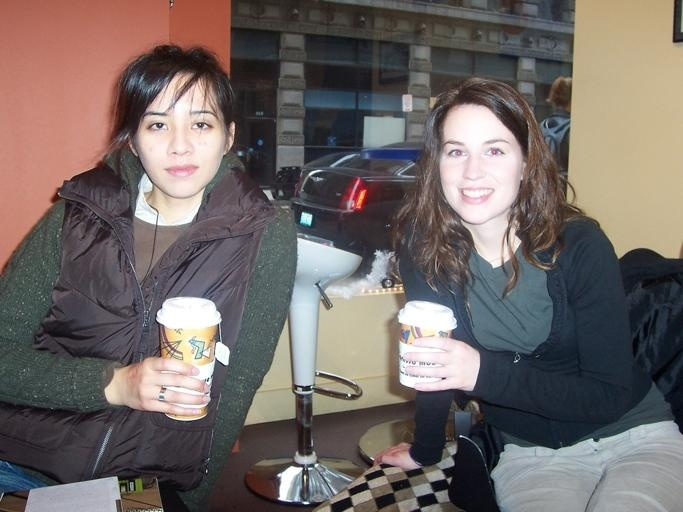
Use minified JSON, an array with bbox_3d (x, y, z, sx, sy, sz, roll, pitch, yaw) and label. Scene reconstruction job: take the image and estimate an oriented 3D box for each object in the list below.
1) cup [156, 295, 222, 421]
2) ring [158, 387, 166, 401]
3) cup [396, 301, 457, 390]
[{"bbox_3d":[-0.404,0.238,1.480,0.136,0.252,0.121,10,12,39],"label":"cup"},{"bbox_3d":[-0.462,0.354,1.464,0.024,0.033,0.036,6,-9,-6],"label":"ring"},{"bbox_3d":[0.234,0.252,1.615,0.155,0.240,0.128,7,10,28],"label":"cup"}]
